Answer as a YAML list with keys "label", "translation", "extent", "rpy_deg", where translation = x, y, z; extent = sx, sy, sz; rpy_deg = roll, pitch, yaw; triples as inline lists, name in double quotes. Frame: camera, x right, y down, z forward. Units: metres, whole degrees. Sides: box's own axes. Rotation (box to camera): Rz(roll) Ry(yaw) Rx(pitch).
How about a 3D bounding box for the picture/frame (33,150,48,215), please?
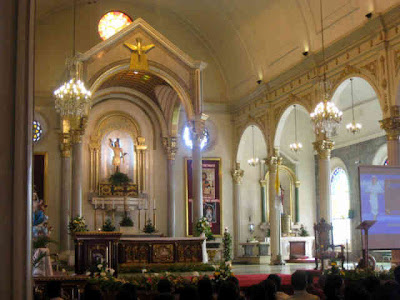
- label: "picture/frame"
  translation: [-6.387, 1.116, 18.713]
  extent: [0.567, 2.048, 0.457]
  rpy_deg: [4, -12, -19]

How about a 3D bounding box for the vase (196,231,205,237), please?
- label: "vase"
  translation: [0.056, 2.751, 15.244]
  extent: [0.244, 0.149, 0.336]
  rpy_deg: [0, -12, 1]

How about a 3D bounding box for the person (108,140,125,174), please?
- label: "person"
  translation: [-3.707, 0.219, 20.949]
  extent: [0.762, 1.657, 0.435]
  rpy_deg: [3, -12, -13]

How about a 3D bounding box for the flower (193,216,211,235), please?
- label: "flower"
  translation: [0.087, 2.503, 15.438]
  extent: [0.509, 0.612, 0.313]
  rpy_deg: [1, -12, -6]
